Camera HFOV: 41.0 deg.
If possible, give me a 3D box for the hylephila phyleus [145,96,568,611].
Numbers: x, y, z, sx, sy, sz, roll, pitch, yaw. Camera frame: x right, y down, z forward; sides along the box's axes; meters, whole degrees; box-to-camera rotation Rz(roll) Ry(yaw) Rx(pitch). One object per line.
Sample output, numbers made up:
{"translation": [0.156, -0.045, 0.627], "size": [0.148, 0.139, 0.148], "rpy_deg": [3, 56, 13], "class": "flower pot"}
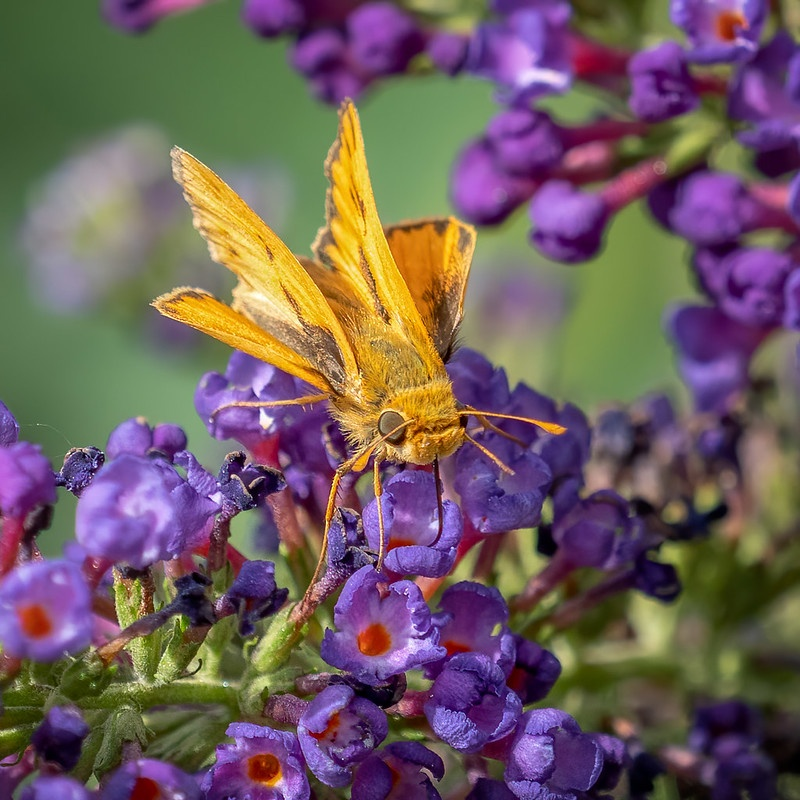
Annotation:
{"translation": [-0.055, -0.089, 1.961], "size": [0.693, 0.863, 0.684], "rpy_deg": [-4, 15, -5], "class": "hylephila phyleus"}
